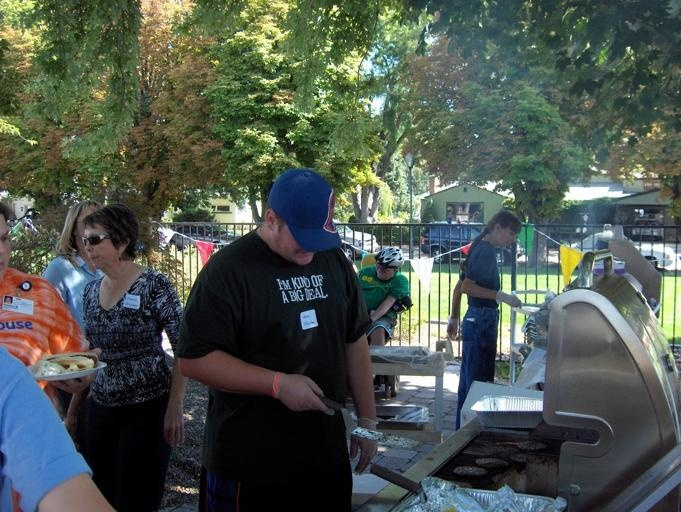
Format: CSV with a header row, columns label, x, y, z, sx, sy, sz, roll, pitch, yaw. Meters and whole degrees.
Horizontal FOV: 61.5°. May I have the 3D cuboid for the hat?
label,x,y,z,sx,sy,sz,roll,pitch,yaw
hat,-0.162,-0.215,2.613,0.332,0.396,0.206,0,0,-7

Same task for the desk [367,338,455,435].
label,x,y,z,sx,sy,sz,roll,pitch,yaw
desk,0.565,1.247,5.789,1.047,0.917,0.679,-7,16,22

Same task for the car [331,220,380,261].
label,x,y,z,sx,sy,sz,roll,pitch,yaw
car,0.309,-0.249,13.451,1.576,0.850,0.897,11,15,39

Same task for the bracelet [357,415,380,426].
label,x,y,z,sx,sy,sz,roll,pitch,yaw
bracelet,0.137,0.840,2.913,0.062,0.039,0.051,4,1,-19

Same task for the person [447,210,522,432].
label,x,y,z,sx,sy,sz,roll,pitch,yaw
person,1.450,0.628,5.726,0.681,2.244,1.175,0,0,11

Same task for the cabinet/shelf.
label,x,y,z,sx,sy,sz,roll,pitch,yaw
cabinet/shelf,1.369,0.589,4.268,0.350,0.425,0.225,5,5,-22

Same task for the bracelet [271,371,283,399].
label,x,y,z,sx,sy,sz,roll,pitch,yaw
bracelet,-0.279,0.558,2.485,0.035,0.087,0.061,3,-7,3
